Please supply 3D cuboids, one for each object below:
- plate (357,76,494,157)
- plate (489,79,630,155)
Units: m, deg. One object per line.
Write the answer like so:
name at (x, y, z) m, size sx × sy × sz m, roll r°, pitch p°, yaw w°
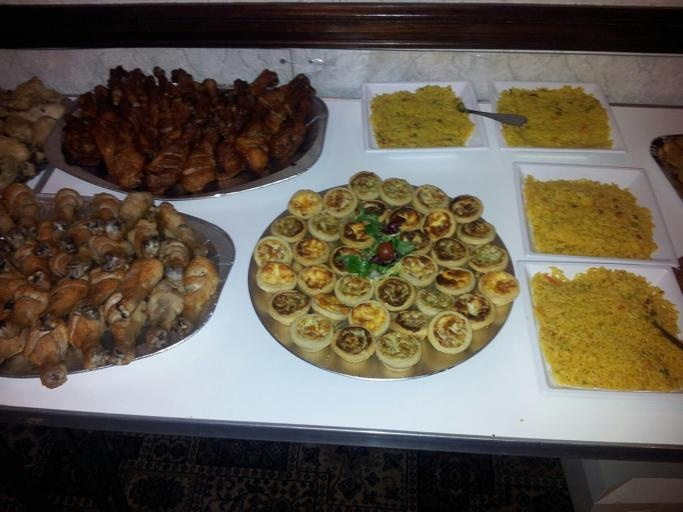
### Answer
plate at (0.360, -0.778, 2.593) m, size 0.707 × 0.100 × 0.461 m, roll -3°, pitch 60°, yaw 0°
plate at (1.170, -0.757, 2.684) m, size 0.593 × 0.067 × 0.452 m, roll -2°, pitch 46°, yaw -1°
